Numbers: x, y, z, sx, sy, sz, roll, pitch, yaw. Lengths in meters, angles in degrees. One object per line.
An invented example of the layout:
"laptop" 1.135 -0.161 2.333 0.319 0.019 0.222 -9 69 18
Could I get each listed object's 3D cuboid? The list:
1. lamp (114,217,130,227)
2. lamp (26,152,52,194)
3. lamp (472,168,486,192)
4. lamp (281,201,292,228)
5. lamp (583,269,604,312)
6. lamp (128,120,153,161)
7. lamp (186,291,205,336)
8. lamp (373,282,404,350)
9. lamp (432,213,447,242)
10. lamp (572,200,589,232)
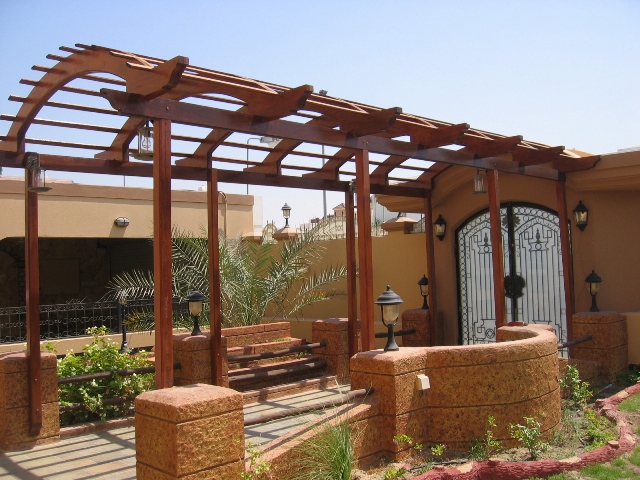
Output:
"lamp" -5.129 -0.467 14.261 0.370 0.266 0.196 1 -8 -23
"lamp" -3.664 -0.913 7.147 0.273 0.579 0.680 2 -9 -29
"lamp" 2.821 -1.020 9.724 0.294 0.370 0.188 4 -10 -37
"lamp" -0.957 -0.695 15.624 0.267 0.616 0.600 -2 -8 -3
"lamp" 5.304 0.975 10.622 0.301 0.814 0.530 -6 -9 26
"lamp" -2.207 -1.251 6.824 0.247 0.535 0.792 1 -8 -19
"lamp" -2.106 1.233 9.323 0.215 0.735 1.490 0 -8 -13
"lamp" 0.925 1.019 7.320 0.323 0.839 1.176 -3 -8 8
"lamp" 2.730 -0.289 12.600 0.329 0.585 0.301 -7 -9 31
"lamp" 5.191 -0.498 10.939 0.289 0.608 0.243 -7 -9 30
